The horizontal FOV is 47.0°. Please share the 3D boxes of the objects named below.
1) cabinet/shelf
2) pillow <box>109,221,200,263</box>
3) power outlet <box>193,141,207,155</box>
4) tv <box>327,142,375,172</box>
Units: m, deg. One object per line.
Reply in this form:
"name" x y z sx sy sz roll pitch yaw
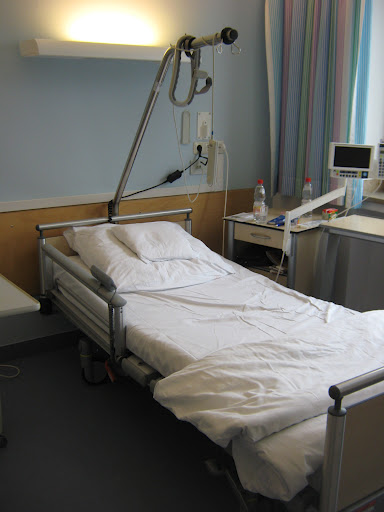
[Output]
"cabinet/shelf" 0.510 -0.132 2.989 0.503 0.714 0.723 -12 20 -40
"pillow" -0.184 -0.080 2.431 0.307 0.082 0.284 -3 38 -41
"power outlet" 0.055 -0.741 3.035 0.127 0.080 0.030 -4 8 -31
"tv" 0.917 -0.569 2.554 0.303 0.189 0.155 6 11 20
